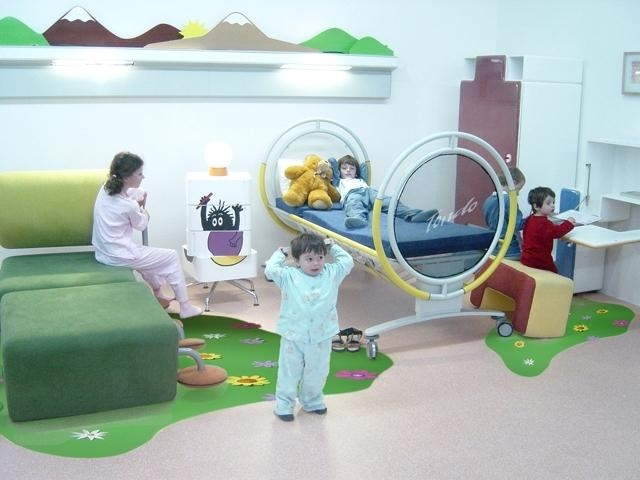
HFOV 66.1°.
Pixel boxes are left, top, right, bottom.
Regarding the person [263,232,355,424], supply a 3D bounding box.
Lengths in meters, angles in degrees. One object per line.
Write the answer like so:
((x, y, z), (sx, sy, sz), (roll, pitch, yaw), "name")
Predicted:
((-0.043, 0.478, 2.824), (0.493, 1.062, 0.326), (-4, 15, -8), "person")

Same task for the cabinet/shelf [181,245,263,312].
((-0.906, 0.245, 4.582), (0.647, 0.484, 0.654), (-5, 16, -23), "cabinet/shelf")

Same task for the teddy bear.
((-0.051, -0.601, 4.911), (0.605, 0.587, 0.456), (20, 8, -10), "teddy bear")

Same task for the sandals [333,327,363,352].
((0.209, 0.753, 3.675), (0.277, 0.126, 0.360), (1, 11, 1), "sandals")

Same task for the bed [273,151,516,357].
((0.443, -0.107, 4.622), (1.352, 1.522, 2.371), (-4, 10, -25), "bed")

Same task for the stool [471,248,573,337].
((1.681, 0.481, 4.149), (0.442, 0.448, 0.748), (4, 10, -19), "stool")

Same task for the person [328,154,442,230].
((0.582, -0.368, 4.555), (0.900, 0.323, 0.571), (14, -4, 31), "person")
